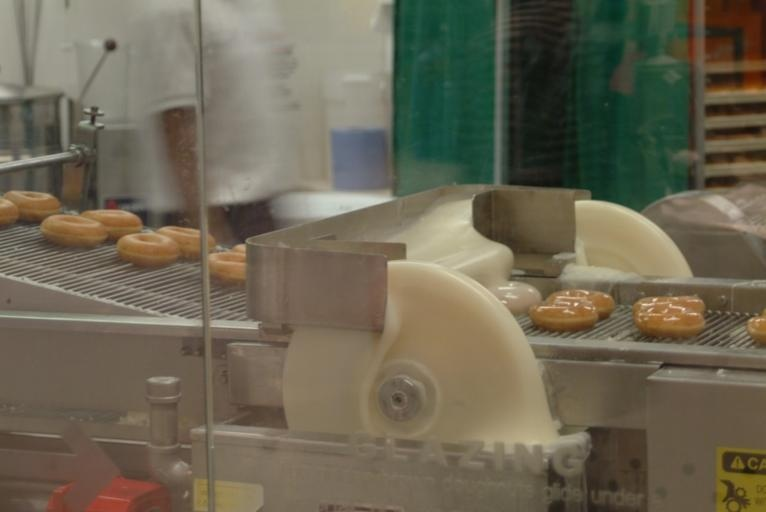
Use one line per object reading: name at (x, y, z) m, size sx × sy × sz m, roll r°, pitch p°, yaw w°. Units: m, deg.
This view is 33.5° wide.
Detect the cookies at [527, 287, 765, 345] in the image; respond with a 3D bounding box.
cookies at (0.357, 0.081, 1.704) m, size 0.308 × 0.065 × 0.095 m, roll 0°, pitch 3°, yaw 20°

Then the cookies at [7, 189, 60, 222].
cookies at (-0.474, -0.068, 1.718) m, size 0.051 × 0.018 × 0.048 m, roll 5°, pitch 5°, yaw 4°

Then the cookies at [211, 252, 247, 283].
cookies at (-0.206, 0.017, 1.691) m, size 0.045 × 0.013 × 0.042 m, roll 1°, pitch 14°, yaw -24°

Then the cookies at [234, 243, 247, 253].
cookies at (-0.191, -0.009, 1.702) m, size 0.013 × 0.004 × 0.014 m, roll 22°, pitch 29°, yaw 36°

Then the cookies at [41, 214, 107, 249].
cookies at (-0.419, -0.033, 1.727) m, size 0.086 × 0.046 × 0.015 m, roll -1°, pitch 3°, yaw -14°
